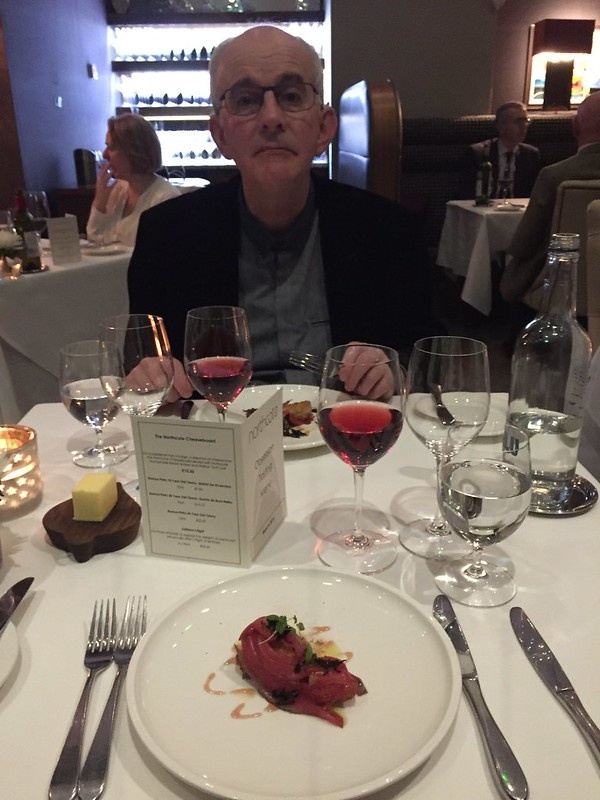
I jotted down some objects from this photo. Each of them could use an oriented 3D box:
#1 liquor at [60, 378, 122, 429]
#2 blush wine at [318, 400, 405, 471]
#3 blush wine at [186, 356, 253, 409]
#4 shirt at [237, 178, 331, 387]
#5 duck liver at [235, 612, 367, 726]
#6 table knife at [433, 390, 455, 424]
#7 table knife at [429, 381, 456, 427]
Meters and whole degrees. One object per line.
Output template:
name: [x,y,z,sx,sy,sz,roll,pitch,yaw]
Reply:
liquor: [-0.340,-0.003,1.041,0.095,0.079,0.087,-5,13,-22]
blush wine: [0.077,0.024,0.746,0.087,0.067,0.087,0,23,1]
blush wine: [-0.115,-0.028,0.927,0.076,0.080,0.075,-3,28,2]
shirt: [-0.042,-0.332,1.738,0.259,0.428,0.287,-4,24,-5]
duck liver: [-0.003,0.223,0.533,0.089,0.032,0.064,9,26,27]
table knife: [0.182,0.010,0.798,0.015,0.011,0.056,-16,50,9]
table knife: [0.187,0.003,0.799,0.017,0.011,0.064,-7,58,9]
